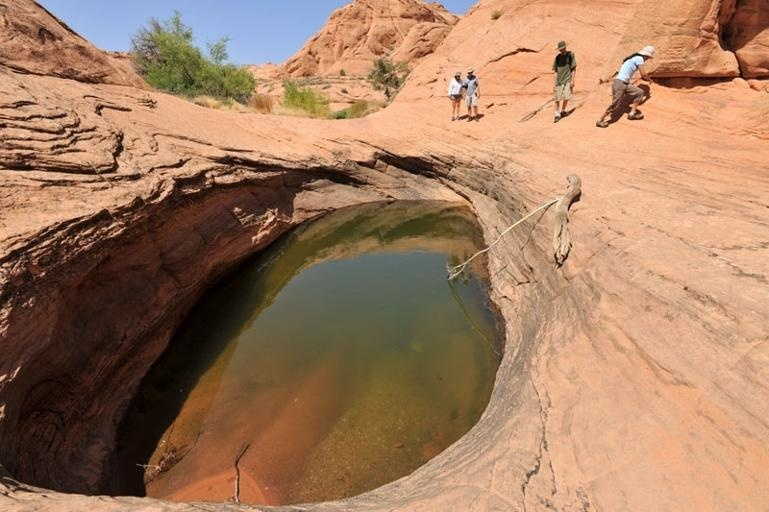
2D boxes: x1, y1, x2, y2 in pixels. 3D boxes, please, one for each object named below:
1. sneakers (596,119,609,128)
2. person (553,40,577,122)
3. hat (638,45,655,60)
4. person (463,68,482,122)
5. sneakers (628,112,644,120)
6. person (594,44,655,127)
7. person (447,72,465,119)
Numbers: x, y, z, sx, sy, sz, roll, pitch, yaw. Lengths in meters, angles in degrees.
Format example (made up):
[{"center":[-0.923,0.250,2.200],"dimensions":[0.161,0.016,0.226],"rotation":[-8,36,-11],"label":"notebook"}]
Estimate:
[{"center":[5.159,-3.142,11.150],"dimensions":[0.279,0.128,0.156],"rotation":[15,52,43],"label":"sneakers"},{"center":[4.460,-4.464,11.742],"dimensions":[0.479,2.065,1.003],"rotation":[1,43,19],"label":"person"},{"center":[5.681,-4.433,10.254],"dimensions":[0.257,0.303,0.423],"rotation":[18,49,33],"label":"hat"},{"center":[2.560,-4.843,13.801],"dimensions":[0.413,1.724,1.352],"rotation":[-6,41,12],"label":"person"},{"center":[5.771,-3.238,10.821],"dimensions":[0.292,0.119,0.160],"rotation":[-3,60,22],"label":"sneakers"},{"center":[5.568,-4.034,10.887],"dimensions":[0.981,1.659,1.524],"rotation":[9,45,26],"label":"person"},{"center":[2.136,-4.832,13.982],"dimensions":[0.470,1.576,1.143],"rotation":[-7,40,10],"label":"person"}]
